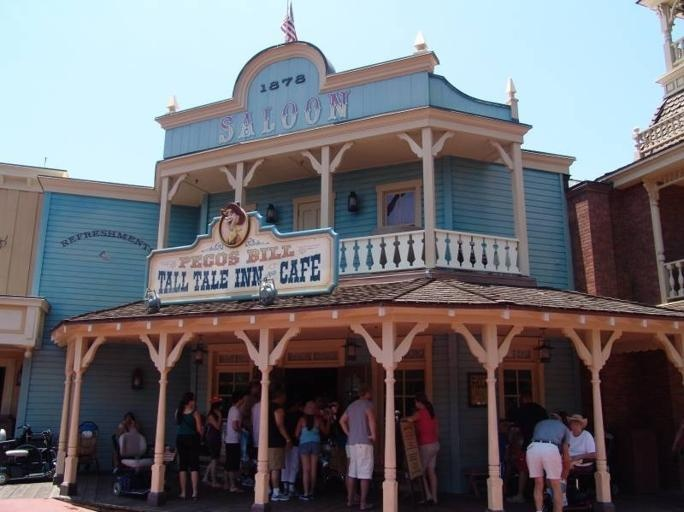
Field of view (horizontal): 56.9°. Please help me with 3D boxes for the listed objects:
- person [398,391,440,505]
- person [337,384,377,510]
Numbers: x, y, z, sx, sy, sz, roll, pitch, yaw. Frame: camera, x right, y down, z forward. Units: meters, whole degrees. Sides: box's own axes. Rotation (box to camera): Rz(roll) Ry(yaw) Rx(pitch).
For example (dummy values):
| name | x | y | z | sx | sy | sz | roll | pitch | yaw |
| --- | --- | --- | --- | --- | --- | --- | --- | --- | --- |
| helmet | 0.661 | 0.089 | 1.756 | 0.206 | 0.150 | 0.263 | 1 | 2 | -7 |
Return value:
| name | x | y | z | sx | sy | sz | roll | pitch | yaw |
| --- | --- | --- | --- | --- | --- | --- | --- | --- | --- |
| person | 1.707 | 4.003 | 13.081 | 0.607 | 2.267 | 0.918 | 0 | 9 | 8 |
| person | 0.455 | 3.790 | 12.692 | 0.715 | 2.214 | 0.767 | -7 | -12 | 37 |
